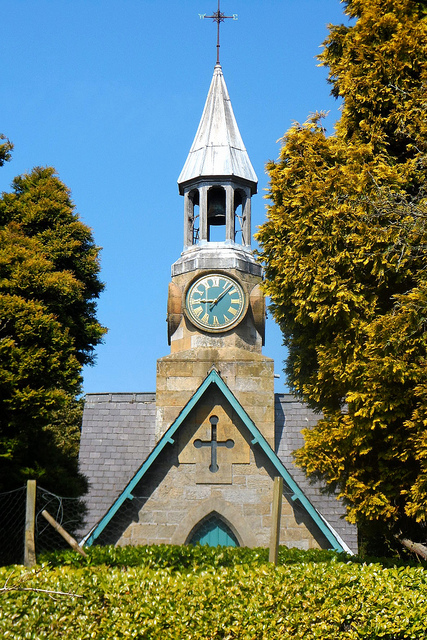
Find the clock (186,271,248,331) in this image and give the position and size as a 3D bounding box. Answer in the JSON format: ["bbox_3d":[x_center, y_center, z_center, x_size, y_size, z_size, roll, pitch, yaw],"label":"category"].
[{"bbox_3d":[0.015,-0.432,28.746,1.347,1.571,0.142,-1,24,-1],"label":"clock"}]

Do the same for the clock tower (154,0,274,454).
[{"bbox_3d":[0.035,-1.903,30.035,2.556,9.911,2.977,1,-16,-2],"label":"clock tower"}]
